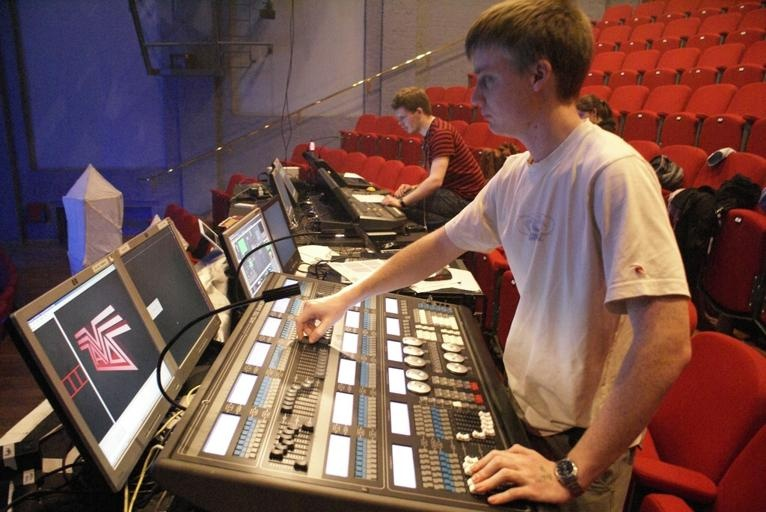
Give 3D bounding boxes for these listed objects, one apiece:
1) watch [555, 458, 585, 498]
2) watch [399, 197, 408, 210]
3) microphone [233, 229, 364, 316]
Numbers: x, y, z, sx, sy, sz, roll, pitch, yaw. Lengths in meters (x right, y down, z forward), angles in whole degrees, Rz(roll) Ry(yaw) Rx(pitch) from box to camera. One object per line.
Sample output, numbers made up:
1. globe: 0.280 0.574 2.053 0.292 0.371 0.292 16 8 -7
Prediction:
1. watch: 0.450 0.542 1.352 0.040 0.075 0.069 -4 16 -37
2. watch: 0.138 -0.366 3.772 0.056 0.087 0.081 -7 -5 3
3. microphone: -0.336 0.064 2.133 0.298 0.074 0.311 14 24 23
